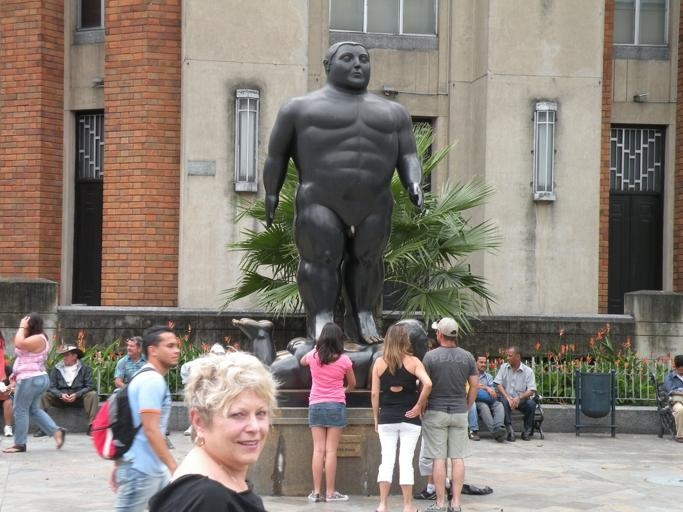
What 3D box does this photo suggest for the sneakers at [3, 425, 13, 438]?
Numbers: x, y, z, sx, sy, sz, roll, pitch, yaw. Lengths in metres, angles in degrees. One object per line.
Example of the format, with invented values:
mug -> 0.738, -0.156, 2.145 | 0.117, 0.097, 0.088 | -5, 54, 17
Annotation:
sneakers -> -5.575, 2.929, 25.337 | 0.171, 0.196, 0.497 | 2, -4, -12

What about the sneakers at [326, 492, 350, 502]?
sneakers -> -0.075, 3.478, 21.873 | 0.346, 0.144, 0.128 | 0, 1, -22

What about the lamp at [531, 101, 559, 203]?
lamp -> 3.909, -2.029, 29.428 | 0.458, 1.934, 0.179 | -1, -5, 1

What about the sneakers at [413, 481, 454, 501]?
sneakers -> 1.327, 3.485, 22.287 | 0.619, 0.259, 0.201 | 0, -3, 1

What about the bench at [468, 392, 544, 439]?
bench -> 2.898, 2.589, 26.259 | 1.594, 1.030, 0.623 | 1, -15, -3

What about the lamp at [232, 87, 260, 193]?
lamp -> -1.834, -2.183, 29.031 | 0.463, 1.945, 0.303 | 0, -5, -5

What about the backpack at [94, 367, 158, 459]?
backpack -> -2.892, 2.152, 19.536 | 0.618, 0.937, 0.135 | 0, -5, -6

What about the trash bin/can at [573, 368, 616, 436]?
trash bin/can -> 4.350, 2.541, 26.070 | 0.691, 1.116, 0.448 | -1, -5, 7

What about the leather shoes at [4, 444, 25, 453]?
leather shoes -> -5.222, 3.055, 24.136 | 0.403, 0.167, 0.122 | 7, -4, -4

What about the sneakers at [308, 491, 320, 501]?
sneakers -> -0.406, 3.471, 21.838 | 0.195, 0.142, 0.104 | -2, -5, 12

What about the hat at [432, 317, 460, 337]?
hat -> 1.485, 1.031, 21.989 | 0.246, 0.195, 0.356 | -23, 38, -28
